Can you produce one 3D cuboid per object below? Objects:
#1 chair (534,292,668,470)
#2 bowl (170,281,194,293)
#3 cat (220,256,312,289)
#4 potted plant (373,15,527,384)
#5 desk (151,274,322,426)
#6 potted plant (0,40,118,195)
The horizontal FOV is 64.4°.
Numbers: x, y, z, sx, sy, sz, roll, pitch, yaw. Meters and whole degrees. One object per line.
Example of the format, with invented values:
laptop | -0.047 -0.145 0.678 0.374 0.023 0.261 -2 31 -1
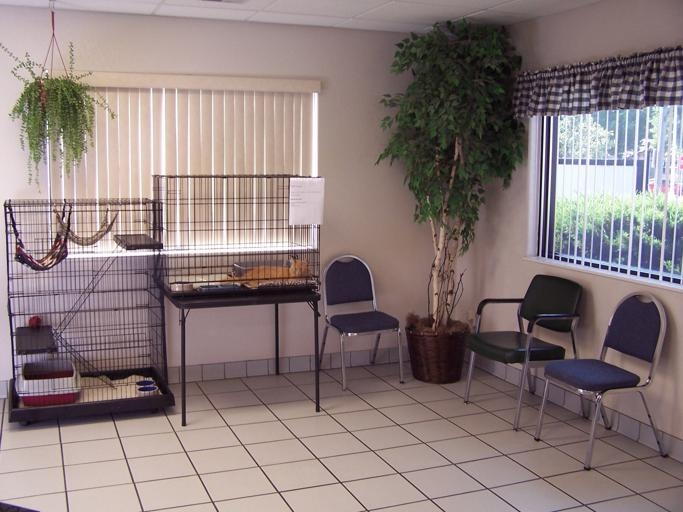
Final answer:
chair | 1.886 0.823 3.913 0.760 1.129 0.533 -3 11 -23
bowl | -1.233 0.235 4.159 0.179 0.069 0.092 0 10 -7
cat | -0.594 0.143 4.463 0.447 0.116 0.317 -5 11 -19
potted plant | 0.980 -0.459 4.999 1.242 3.262 0.872 2 10 4
desk | -0.894 0.562 4.629 1.356 1.093 1.095 -1 1 -25
potted plant | -2.263 -1.132 4.588 0.981 1.475 0.951 -2 13 -31
